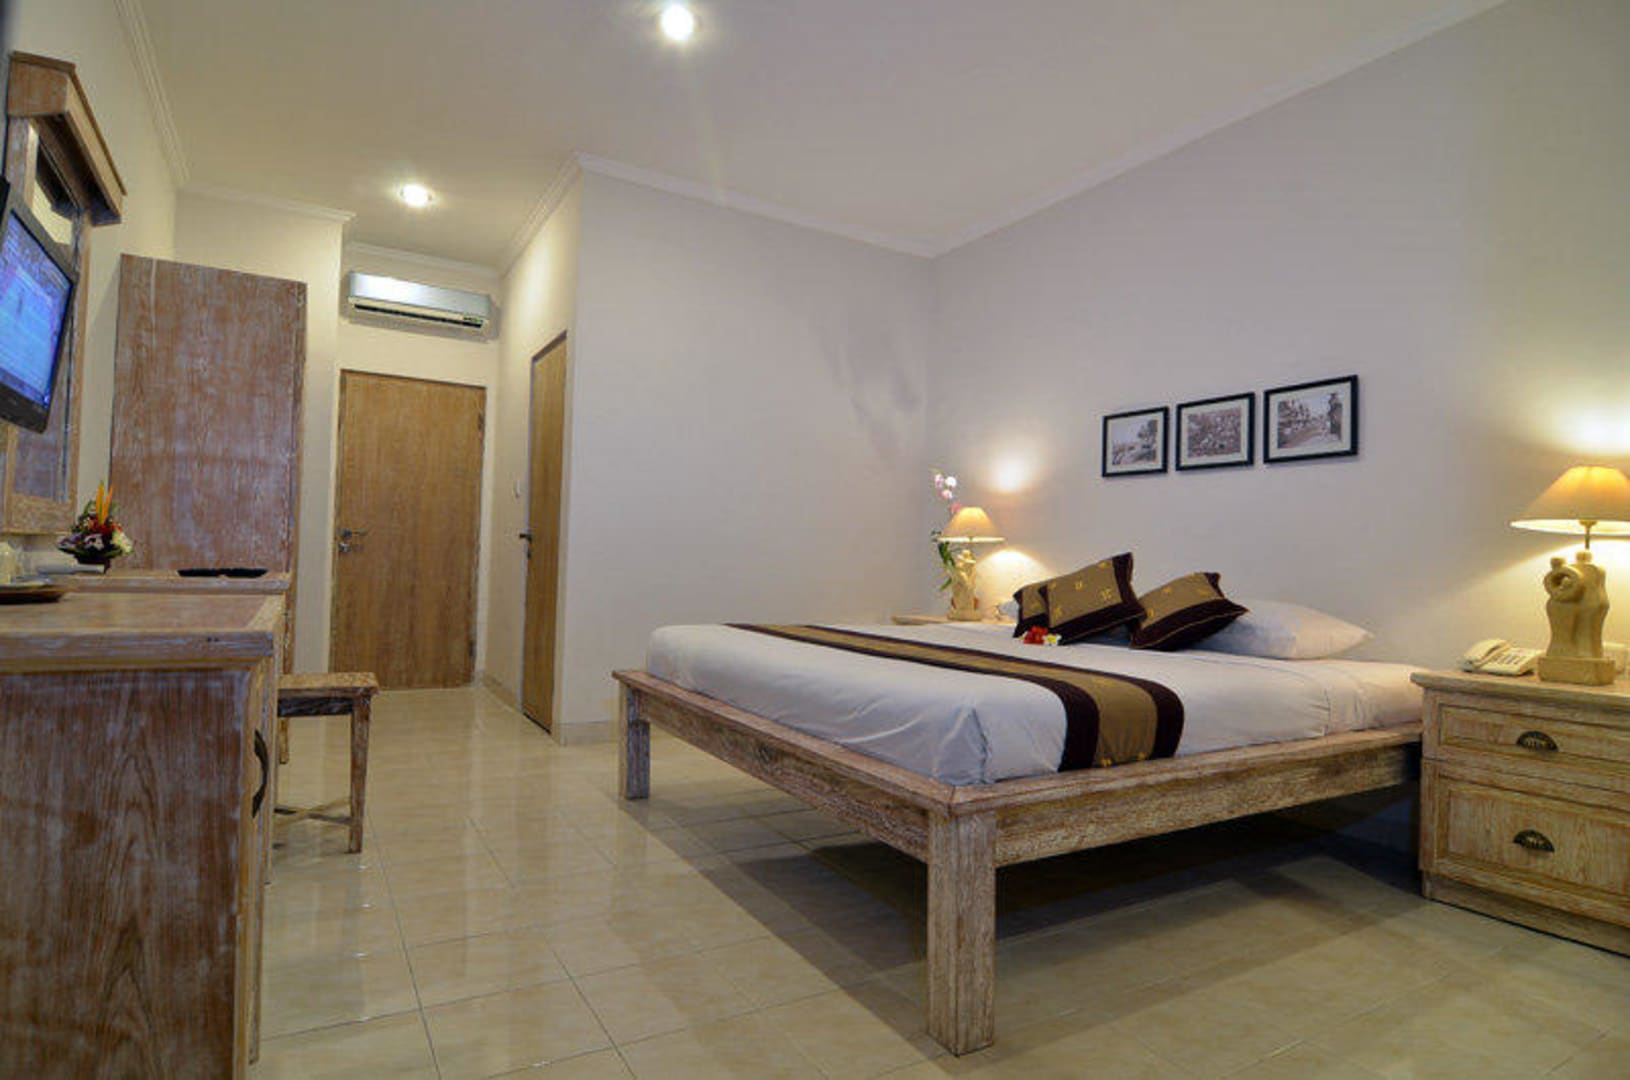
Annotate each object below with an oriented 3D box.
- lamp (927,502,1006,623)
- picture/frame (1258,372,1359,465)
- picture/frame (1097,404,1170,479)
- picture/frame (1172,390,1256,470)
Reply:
[{"bbox_3d":[0.962,0.180,6.398,0.438,0.745,0.679,-2,9,-24],"label":"lamp"},{"bbox_3d":[2.459,-0.583,4.812,0.034,0.492,0.488,3,-2,-38],"label":"picture/frame"},{"bbox_3d":[1.817,-0.542,5.517,0.043,0.384,0.449,2,0,-30],"label":"picture/frame"},{"bbox_3d":[2.134,-0.566,5.168,0.032,0.453,0.449,4,-4,-40],"label":"picture/frame"}]
